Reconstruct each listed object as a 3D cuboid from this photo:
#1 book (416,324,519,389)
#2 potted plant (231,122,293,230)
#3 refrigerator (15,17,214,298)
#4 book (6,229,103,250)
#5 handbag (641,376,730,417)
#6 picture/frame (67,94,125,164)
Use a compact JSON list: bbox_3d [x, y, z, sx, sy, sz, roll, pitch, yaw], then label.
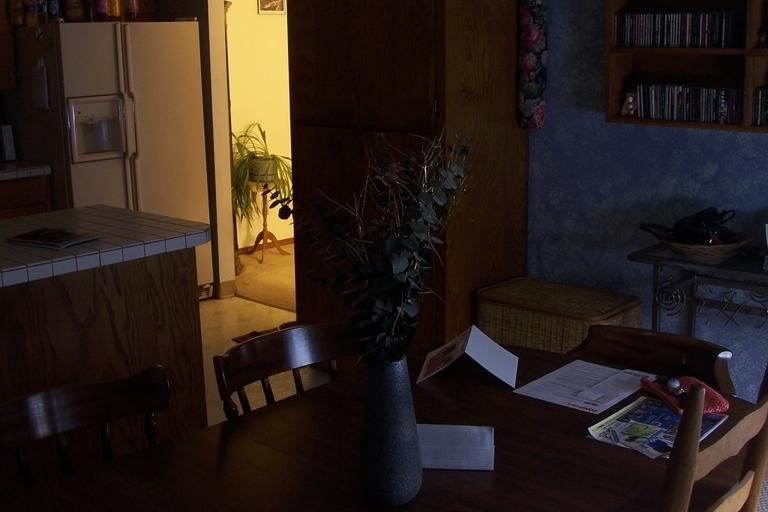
[{"bbox_3d":[0.310,0.338,2.064,0.280,0.110,0.213,7,22,18],"label":"book"},{"bbox_3d":[-1.279,-0.925,6.343,0.752,0.853,0.687,-12,6,-22],"label":"potted plant"},{"bbox_3d":[-2.245,-1.101,4.942,1.459,1.727,0.562,-8,15,-24],"label":"refrigerator"},{"bbox_3d":[-1.493,-0.083,2.649,0.386,0.040,0.206,5,16,24],"label":"book"},{"bbox_3d":[0.892,0.423,1.751,0.202,0.061,0.199,-8,14,-24],"label":"handbag"},{"bbox_3d":[-2.328,-1.041,4.760,0.440,0.521,0.180,-9,16,-28],"label":"picture/frame"}]
